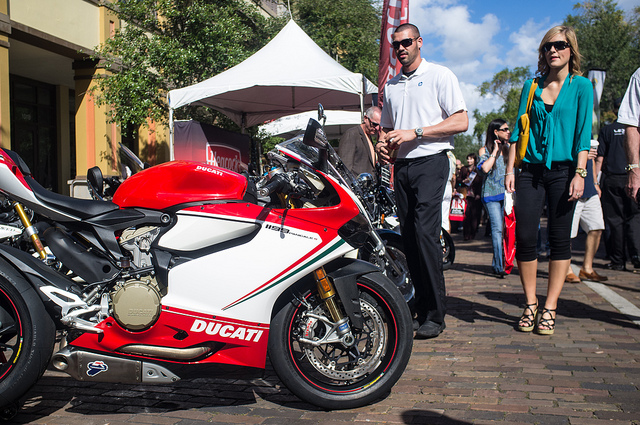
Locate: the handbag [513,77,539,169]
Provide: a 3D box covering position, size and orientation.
[{"bbox_3d":[2.192,-0.958,6.007,0.176,0.973,0.308,5,10,41],"label":"handbag"}]

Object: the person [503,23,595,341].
[{"bbox_3d":[2.358,-0.330,5.856,0.821,3.165,0.614,2,8,24],"label":"person"}]

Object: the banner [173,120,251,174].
[{"bbox_3d":[-2.413,-1.540,13.279,0.035,0.969,3.194,-2,-1,23],"label":"banner"}]
